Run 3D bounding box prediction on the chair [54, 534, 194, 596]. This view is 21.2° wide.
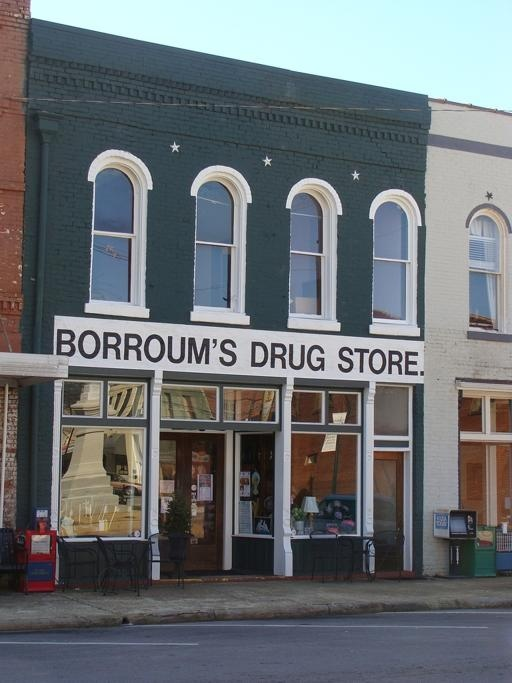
[{"bbox_3d":[-1.972,2.974,18.312,1.381,0.732,0.891,4,-11,-16],"label":"chair"}]

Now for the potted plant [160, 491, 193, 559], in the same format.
[{"bbox_3d":[-1.076,2.563,19.030,0.344,0.943,0.373,4,-9,-13],"label":"potted plant"}]

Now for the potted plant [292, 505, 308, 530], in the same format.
[{"bbox_3d":[0.647,2.626,20.285,0.265,0.444,0.273,1,-8,-5],"label":"potted plant"}]

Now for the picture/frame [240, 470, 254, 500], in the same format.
[{"bbox_3d":[-0.155,2.182,20.908,0.046,0.422,0.239,9,-13,-44],"label":"picture/frame"}]

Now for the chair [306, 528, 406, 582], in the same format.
[{"bbox_3d":[1.537,3.188,20.539,1.842,0.769,0.407,9,-13,-37],"label":"chair"}]
